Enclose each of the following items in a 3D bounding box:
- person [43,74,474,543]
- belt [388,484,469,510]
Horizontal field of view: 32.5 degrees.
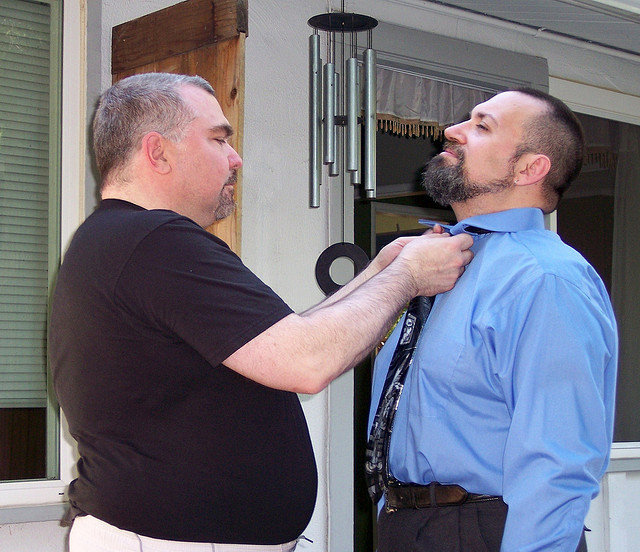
[{"bbox_3d":[-0.235,0.078,2.867,0.959,1.256,0.364,1,-4,4],"label":"person"},{"bbox_3d":[0.288,0.587,2.935,0.224,0.074,0.027,0,-4,28],"label":"belt"}]
